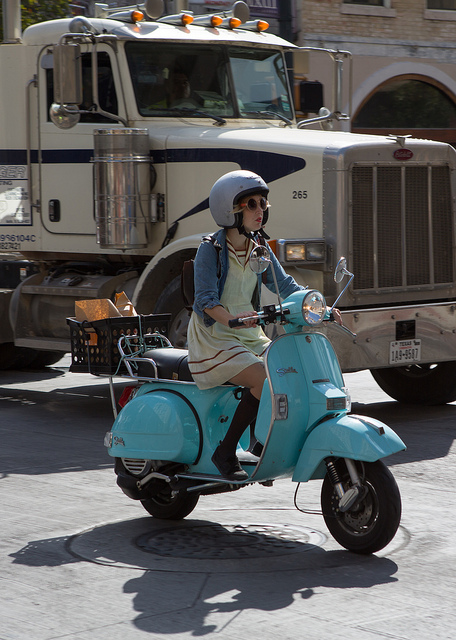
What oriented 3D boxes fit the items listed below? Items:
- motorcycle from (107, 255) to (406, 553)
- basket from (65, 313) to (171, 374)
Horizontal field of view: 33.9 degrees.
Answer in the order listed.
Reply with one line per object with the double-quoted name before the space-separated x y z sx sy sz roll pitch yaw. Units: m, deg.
"motorcycle" 0.077 0.407 3.669 0.752 1.195 1.792 9 -8 -44
"basket" -0.726 0.134 4.551 0.462 0.258 0.450 -1 -1 -45
